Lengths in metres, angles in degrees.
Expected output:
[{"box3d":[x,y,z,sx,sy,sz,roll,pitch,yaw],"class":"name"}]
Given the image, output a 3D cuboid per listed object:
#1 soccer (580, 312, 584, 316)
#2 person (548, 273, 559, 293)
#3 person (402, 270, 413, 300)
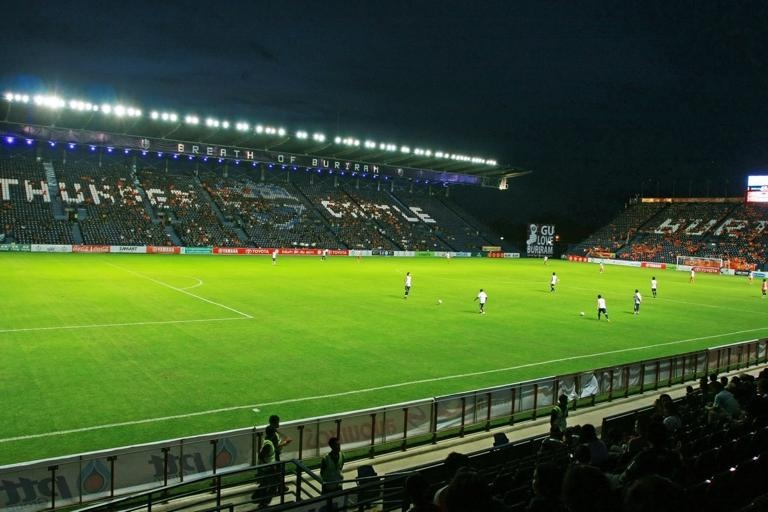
[{"box3d":[12.020,3.475,42.549,0.195,0.106,0.218,-9,10,-30],"class":"soccer"},{"box3d":[13.734,2.174,57.105,0.782,1.901,1.022,12,19,4],"class":"person"},{"box3d":[1.634,2.100,50.205,0.900,2.252,0.834,2,33,-2],"class":"person"}]
